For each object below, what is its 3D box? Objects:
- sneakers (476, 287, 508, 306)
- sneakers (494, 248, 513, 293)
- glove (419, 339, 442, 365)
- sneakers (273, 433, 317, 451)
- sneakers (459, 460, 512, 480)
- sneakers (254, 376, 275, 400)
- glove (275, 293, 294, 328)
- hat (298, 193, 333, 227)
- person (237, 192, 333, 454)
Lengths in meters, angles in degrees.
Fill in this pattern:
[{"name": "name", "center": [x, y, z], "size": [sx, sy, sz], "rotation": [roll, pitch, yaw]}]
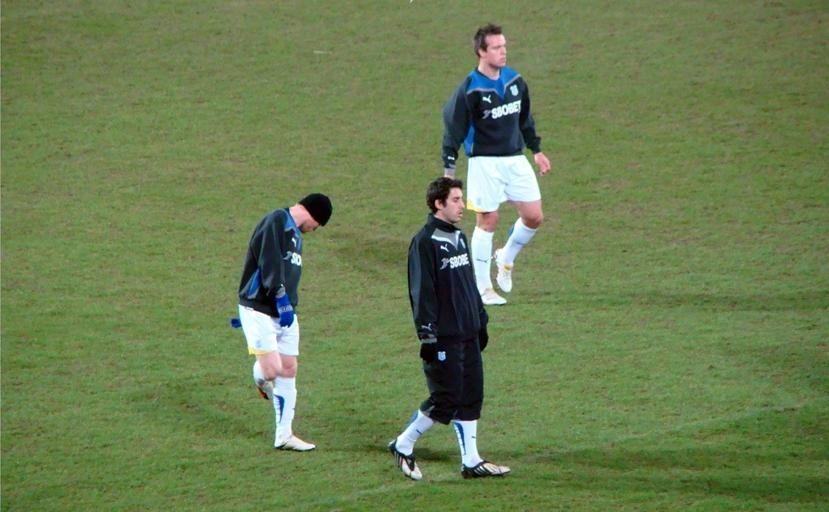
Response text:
[{"name": "sneakers", "center": [1.122, 0.603, 21.396], "size": [0.408, 0.159, 0.207], "rotation": [9, 19, 26]}, {"name": "sneakers", "center": [1.291, 0.209, 21.567], "size": [0.294, 0.628, 0.247], "rotation": [-7, 10, 39]}, {"name": "glove", "center": [0.189, 1.261, 19.130], "size": [0.227, 0.280, 0.104], "rotation": [2, 24, -2]}, {"name": "sneakers", "center": [-1.635, 2.556, 19.994], "size": [0.609, 0.233, 0.211], "rotation": [0, 8, 0]}, {"name": "sneakers", "center": [0.940, 2.863, 19.688], "size": [0.599, 0.230, 0.257], "rotation": [-3, 8, -3]}, {"name": "sneakers", "center": [-2.046, 1.801, 19.868], "size": [0.203, 0.164, 0.394], "rotation": [4, 37, -8]}, {"name": "glove", "center": [-1.718, 0.722, 19.412], "size": [0.252, 0.422, 0.171], "rotation": [-13, 30, -17]}, {"name": "hat", "center": [-1.263, -0.670, 19.702], "size": [0.489, 0.393, 0.358], "rotation": [32, 11, 4]}, {"name": "person", "center": [-1.814, 0.900, 19.711], "size": [0.989, 3.485, 0.886], "rotation": [8, 15, 19]}]
